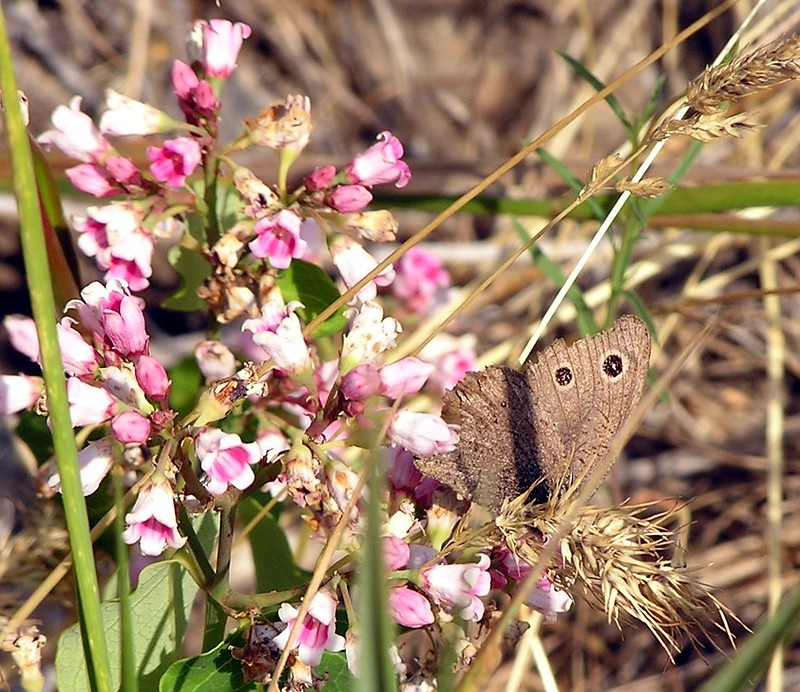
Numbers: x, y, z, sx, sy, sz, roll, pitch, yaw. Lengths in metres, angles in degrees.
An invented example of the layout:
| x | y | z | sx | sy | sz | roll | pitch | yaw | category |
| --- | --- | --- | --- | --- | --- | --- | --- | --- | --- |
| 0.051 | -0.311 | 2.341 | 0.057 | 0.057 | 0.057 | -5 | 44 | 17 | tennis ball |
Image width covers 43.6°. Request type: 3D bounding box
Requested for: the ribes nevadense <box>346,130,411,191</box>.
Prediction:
| x | y | z | sx | sy | sz | roll | pitch | yaw | category |
| --- | --- | --- | --- | --- | --- | --- | --- | --- | --- |
| -0.112 | -0.611 | 3.361 | 0.281 | 0.170 | 0.141 | -13 | -20 | -3 | ribes nevadense |

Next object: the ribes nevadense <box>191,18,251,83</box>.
| x | y | z | sx | sy | sz | roll | pitch | yaw | category |
| --- | --- | --- | --- | --- | --- | --- | --- | --- | --- |
| -0.596 | -0.988 | 3.366 | 0.200 | 0.190 | 0.197 | -2 | 2 | -22 | ribes nevadense |

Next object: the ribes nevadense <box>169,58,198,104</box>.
| x | y | z | sx | sy | sz | roll | pitch | yaw | category |
| --- | --- | --- | --- | --- | --- | --- | --- | --- | --- |
| -0.709 | -0.879 | 3.270 | 0.095 | 0.085 | 0.111 | 23 | -15 | -20 | ribes nevadense |

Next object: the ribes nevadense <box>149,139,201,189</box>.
| x | y | z | sx | sy | sz | roll | pitch | yaw | category |
| --- | --- | --- | --- | --- | --- | --- | --- | --- | --- |
| -0.729 | -0.608 | 3.272 | 0.164 | 0.109 | 0.170 | 12 | -16 | 22 | ribes nevadense |

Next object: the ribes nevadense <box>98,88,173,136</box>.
| x | y | z | sx | sy | sz | roll | pitch | yaw | category |
| --- | --- | --- | --- | --- | --- | --- | --- | --- | --- |
| -0.879 | -0.762 | 3.318 | 0.191 | 0.171 | 0.068 | 14 | -36 | -16 | ribes nevadense |

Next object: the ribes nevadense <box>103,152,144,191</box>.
| x | y | z | sx | sy | sz | roll | pitch | yaw | category |
| --- | --- | --- | --- | --- | --- | --- | --- | --- | --- |
| -0.918 | -0.581 | 3.303 | 0.136 | 0.080 | 0.064 | 39 | -2 | -23 | ribes nevadense |
